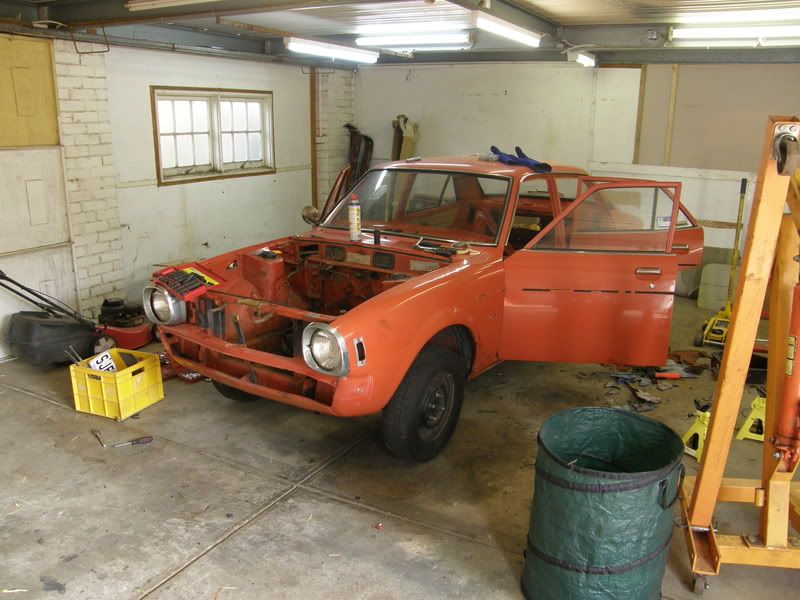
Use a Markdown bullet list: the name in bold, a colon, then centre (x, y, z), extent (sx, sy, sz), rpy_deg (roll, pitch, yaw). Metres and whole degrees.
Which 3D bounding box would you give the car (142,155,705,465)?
- **car**: centre (0.682, 0.046, 5.020), extent (3.852, 1.040, 3.078), rpy_deg (-15, 20, -42)

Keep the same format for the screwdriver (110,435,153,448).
- **screwdriver**: centre (-2.074, 1.099, 4.608), extent (0.339, 0.072, 0.077), rpy_deg (-3, 20, 3)

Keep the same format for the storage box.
- **storage box**: centre (-2.355, 0.714, 5.030), extent (0.751, 0.383, 0.724), rpy_deg (5, 10, 40)
